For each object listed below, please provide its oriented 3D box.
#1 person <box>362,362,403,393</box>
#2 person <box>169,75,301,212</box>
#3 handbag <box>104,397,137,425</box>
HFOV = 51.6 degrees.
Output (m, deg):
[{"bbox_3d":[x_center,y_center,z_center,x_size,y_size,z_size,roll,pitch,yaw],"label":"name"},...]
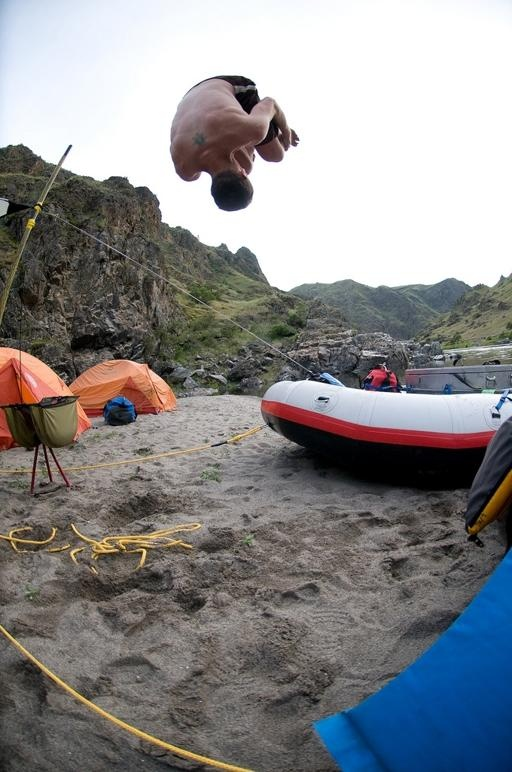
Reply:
[{"bbox_3d":[1.665,-0.104,7.029,0.303,0.388,0.717,9,10,6],"label":"person"},{"bbox_3d":[-0.091,-1.323,2.855,0.439,0.786,0.691,6,11,43],"label":"person"},{"bbox_3d":[-2.593,0.479,10.090,0.443,0.244,0.579,1,17,-23],"label":"handbag"}]
